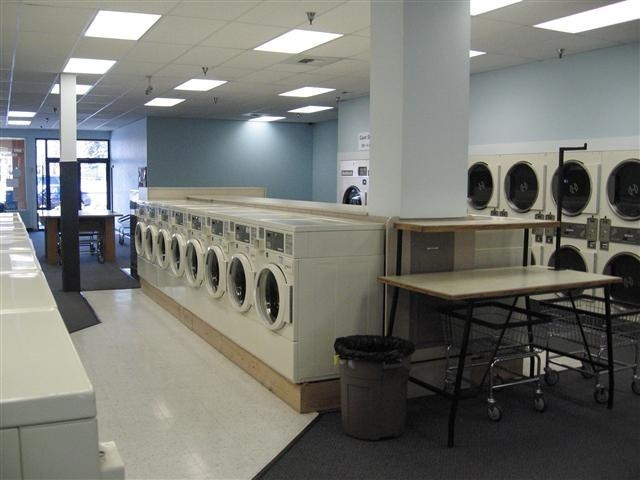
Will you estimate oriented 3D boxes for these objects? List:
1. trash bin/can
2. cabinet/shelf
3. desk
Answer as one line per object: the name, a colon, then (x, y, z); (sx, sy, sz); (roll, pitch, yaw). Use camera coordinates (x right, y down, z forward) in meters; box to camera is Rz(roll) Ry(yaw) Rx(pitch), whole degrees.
trash bin/can: (0.356, 0.989, 3.298); (0.581, 0.619, 0.612); (-7, 9, -41)
cabinet/shelf: (1.953, 0.456, 3.820); (1.410, 1.493, 2.223); (-14, -4, 38)
desk: (-5.340, -0.087, 10.439); (1.565, 0.857, 1.551); (-4, 7, -39)
